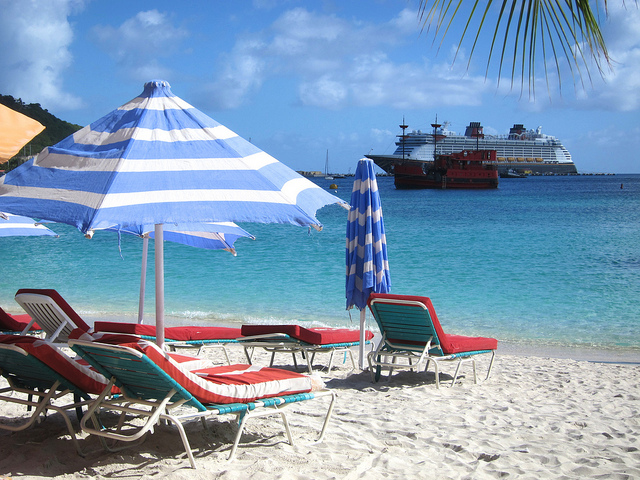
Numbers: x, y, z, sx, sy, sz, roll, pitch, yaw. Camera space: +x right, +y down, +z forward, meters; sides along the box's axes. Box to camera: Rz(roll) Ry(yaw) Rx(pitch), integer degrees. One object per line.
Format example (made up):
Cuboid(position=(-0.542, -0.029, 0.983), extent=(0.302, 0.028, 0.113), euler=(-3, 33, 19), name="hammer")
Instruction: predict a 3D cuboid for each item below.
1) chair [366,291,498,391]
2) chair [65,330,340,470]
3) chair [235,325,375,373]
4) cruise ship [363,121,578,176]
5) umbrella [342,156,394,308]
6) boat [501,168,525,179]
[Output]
Cuboid(position=(1.300, 1.186, 6.867), extent=(1.511, 0.730, 1.412), euler=(3, -2, 14), name="chair")
Cuboid(position=(-0.741, 1.149, 4.476), extent=(2.104, 0.850, 1.081), euler=(0, 0, -37), name="chair")
Cuboid(position=(-0.098, 1.172, 6.986), extent=(1.565, 0.450, 0.798), euler=(2, -2, -44), name="chair")
Cuboid(position=(29.223, -18.082, 114.521), extent=(51.620, 9.138, 10.144), euler=(-3, 13, -21), name="cruise ship")
Cuboid(position=(0.623, -0.099, 7.076), extent=(0.582, 1.341, 0.515), euler=(5, -2, 2), name="umbrella")
Cuboid(position=(38.919, -13.431, 114.540), extent=(5.944, 1.777, 1.841), euler=(-6, 14, -31), name="boat")
